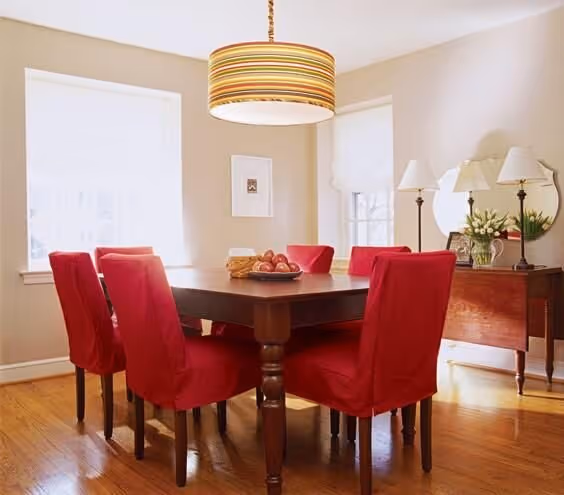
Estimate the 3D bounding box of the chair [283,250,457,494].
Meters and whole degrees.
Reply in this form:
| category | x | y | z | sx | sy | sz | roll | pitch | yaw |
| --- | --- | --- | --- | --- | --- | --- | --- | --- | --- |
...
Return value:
| category | x | y | z | sx | sy | sz | roll | pitch | yaw |
| --- | --- | --- | --- | --- | --- | --- | --- | --- | --- |
| chair | 0.434 | 0.486 | 2.469 | 0.757 | 1.413 | 0.874 | 1 | 0 | -43 |

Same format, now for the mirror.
| category | x | y | z | sx | sy | sz | roll | pitch | yaw |
| --- | --- | --- | --- | --- | --- | --- | --- | --- | --- |
| mirror | 1.694 | -0.378 | 3.827 | 0.026 | 0.539 | 0.701 | 4 | -5 | -37 |

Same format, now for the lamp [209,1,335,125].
| category | x | y | z | sx | sy | sz | roll | pitch | yaw |
| --- | --- | --- | --- | --- | --- | --- | --- | --- | --- |
| lamp | -0.048 | -0.797 | 2.593 | 0.560 | 0.709 | 0.620 | 0 | -3 | 3 |

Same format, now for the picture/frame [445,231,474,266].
| category | x | y | z | sx | sy | sz | roll | pitch | yaw |
| --- | --- | --- | --- | --- | --- | --- | --- | --- | --- |
| picture/frame | 1.289 | 0.017 | 3.541 | 0.020 | 0.288 | 0.237 | 12 | -15 | -30 |

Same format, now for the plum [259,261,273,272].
| category | x | y | z | sx | sy | sz | roll | pitch | yaw |
| --- | --- | --- | --- | --- | --- | --- | --- | --- | --- |
| plum | -0.082 | 0.107 | 2.559 | 0.046 | 0.033 | 0.054 | 3 | 15 | -5 |

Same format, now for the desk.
| category | x | y | z | sx | sy | sz | roll | pitch | yaw |
| --- | --- | --- | --- | --- | --- | --- | --- | --- | --- |
| desk | 1.574 | 0.576 | 3.453 | 0.442 | 0.792 | 0.764 | -2 | 2 | -38 |

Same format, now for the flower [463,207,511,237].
| category | x | y | z | sx | sy | sz | roll | pitch | yaw |
| --- | --- | --- | --- | --- | --- | --- | --- | --- | --- |
| flower | 1.539 | -0.157 | 3.674 | 0.264 | 0.322 | 0.301 | 0 | 3 | -10 |

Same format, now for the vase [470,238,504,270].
| category | x | y | z | sx | sy | sz | roll | pitch | yaw |
| --- | --- | --- | --- | --- | --- | --- | --- | --- | --- |
| vase | 1.500 | 0.052 | 3.626 | 0.246 | 0.276 | 0.169 | 0 | -4 | -1 |

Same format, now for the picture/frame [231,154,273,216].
| category | x | y | z | sx | sy | sz | roll | pitch | yaw |
| --- | --- | --- | --- | --- | --- | --- | --- | --- | --- |
| picture/frame | -0.332 | -0.648 | 5.117 | 0.617 | 0.831 | 0.033 | 1 | -1 | -42 |

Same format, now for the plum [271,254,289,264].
| category | x | y | z | sx | sy | sz | roll | pitch | yaw |
| --- | --- | --- | --- | --- | --- | --- | --- | --- | --- |
| plum | -0.004 | 0.067 | 2.637 | 0.058 | 0.027 | 0.059 | 5 | -4 | 36 |

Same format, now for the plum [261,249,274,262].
| category | x | y | z | sx | sy | sz | roll | pitch | yaw |
| --- | --- | --- | --- | --- | --- | --- | --- | --- | --- |
| plum | -0.076 | 0.047 | 2.701 | 0.064 | 0.053 | 0.049 | -29 | -2 | -17 |

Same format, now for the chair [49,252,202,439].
| category | x | y | z | sx | sy | sz | roll | pitch | yaw |
| --- | --- | --- | --- | --- | --- | --- | --- | --- | --- |
| chair | -0.829 | 0.460 | 2.838 | 0.829 | 1.391 | 0.649 | -1 | 2 | -38 |

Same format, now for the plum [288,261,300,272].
| category | x | y | z | sx | sy | sz | roll | pitch | yaw |
| --- | --- | --- | --- | --- | --- | --- | --- | --- | --- |
| plum | 0.063 | 0.104 | 2.626 | 0.041 | 0.035 | 0.054 | 3 | 14 | -37 |

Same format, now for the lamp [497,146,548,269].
| category | x | y | z | sx | sy | sz | roll | pitch | yaw |
| --- | --- | --- | --- | --- | --- | --- | --- | --- | --- |
| lamp | 1.733 | -0.301 | 3.556 | 0.318 | 0.894 | 0.519 | 1 | 7 | 29 |

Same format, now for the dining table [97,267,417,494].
| category | x | y | z | sx | sy | sz | roll | pitch | yaw |
| --- | --- | --- | --- | --- | --- | --- | --- | --- | --- |
| dining table | -0.153 | 0.333 | 2.359 | 0.870 | 0.985 | 1.478 | -2 | 1 | -36 |
